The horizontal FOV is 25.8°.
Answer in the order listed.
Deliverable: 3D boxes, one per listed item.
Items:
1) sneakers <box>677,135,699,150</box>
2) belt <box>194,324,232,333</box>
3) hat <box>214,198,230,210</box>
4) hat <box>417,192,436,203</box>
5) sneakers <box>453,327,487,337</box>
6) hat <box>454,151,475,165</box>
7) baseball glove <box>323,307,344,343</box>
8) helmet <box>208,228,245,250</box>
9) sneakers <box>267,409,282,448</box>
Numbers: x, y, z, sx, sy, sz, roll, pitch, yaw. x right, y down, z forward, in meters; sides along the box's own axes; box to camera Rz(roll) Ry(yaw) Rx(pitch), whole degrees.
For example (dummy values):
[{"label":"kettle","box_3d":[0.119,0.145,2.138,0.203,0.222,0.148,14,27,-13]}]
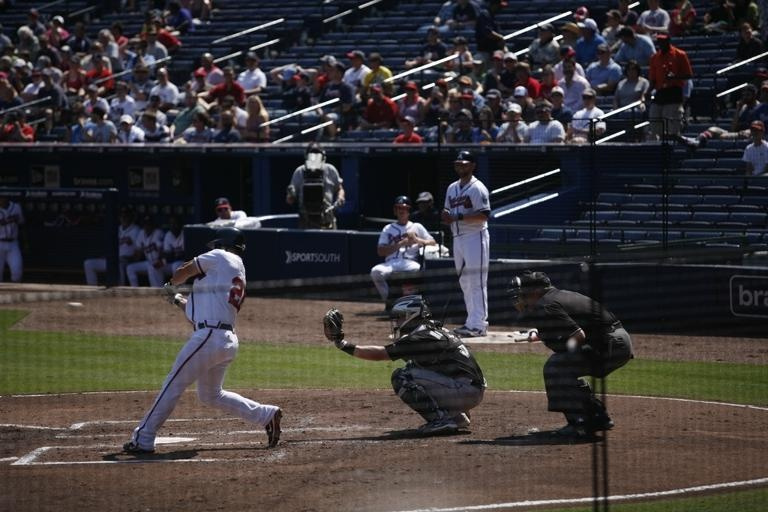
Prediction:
[{"label":"sneakers","box_3d":[5.234,-1.960,29.408,0.398,0.154,0.126,29,2,-13]},{"label":"belt","box_3d":[-2.394,0.986,23.457,0.521,0.134,0.128,-1,3,-9]},{"label":"hat","box_3d":[-3.101,-0.942,31.410,0.239,0.245,0.280,1,17,13]},{"label":"hat","box_3d":[0.723,-1.045,30.156,0.290,0.126,0.200,10,-12,-34]},{"label":"sneakers","box_3d":[1.376,1.276,27.823,0.548,0.189,0.183,4,1,0]},{"label":"hat","box_3d":[1.273,-1.605,27.653,0.296,0.207,0.436,-1,2,3]},{"label":"baseball glove","box_3d":[-0.756,0.991,23.786,0.266,0.472,0.494,-2,3,-3]},{"label":"helmet","box_3d":[-2.254,-0.236,23.822,0.457,0.199,0.301,4,-6,4]},{"label":"sneakers","box_3d":[-1.533,2.410,23.626,0.295,0.528,0.204,-4,13,1]}]
